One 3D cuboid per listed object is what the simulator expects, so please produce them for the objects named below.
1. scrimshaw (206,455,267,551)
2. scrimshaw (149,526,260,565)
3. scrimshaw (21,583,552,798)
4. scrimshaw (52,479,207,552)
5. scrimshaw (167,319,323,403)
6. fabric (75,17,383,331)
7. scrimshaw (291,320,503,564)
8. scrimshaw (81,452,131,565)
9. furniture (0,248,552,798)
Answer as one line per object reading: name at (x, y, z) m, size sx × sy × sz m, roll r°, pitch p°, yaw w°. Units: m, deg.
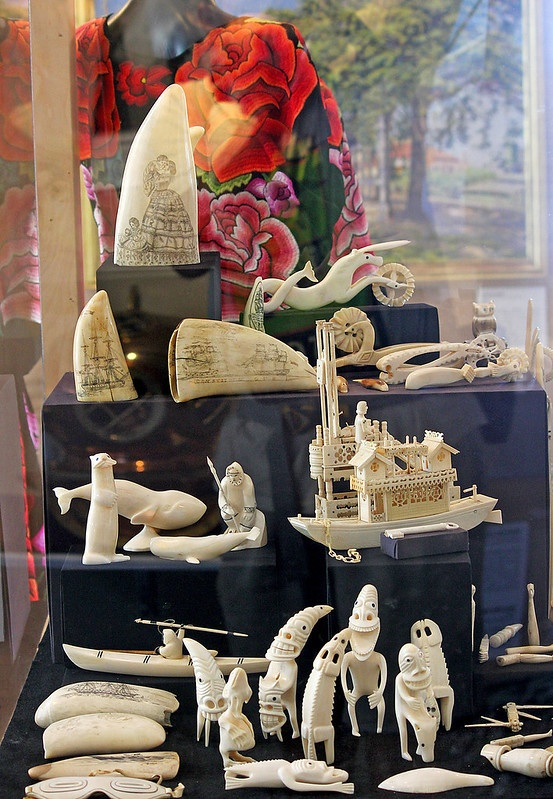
scrimshaw at (-0.082, 0.218, 1.891) m, size 0.122 × 0.205 × 0.085 m, roll -2°, pitch 12°, yaw -5°
scrimshaw at (-0.144, 0.309, 1.828) m, size 0.156 × 0.051 × 0.081 m, roll -4°, pitch -29°, yaw 1°
scrimshaw at (-0.042, 0.536, 1.529) m, size 0.921 × 0.240 × 0.349 m, roll 1°, pitch 7°, yaw 9°
scrimshaw at (-0.317, 0.253, 1.931) m, size 0.335 × 0.148 × 0.113 m, roll 3°, pitch 8°, yaw 0°
scrimshaw at (-0.066, -0.081, 1.986) m, size 0.349 × 0.172 × 0.126 m, roll -1°, pitch 1°, yaw -18°
fabric at (-0.078, -0.522, 2.031) m, size 0.776 × 0.675 × 0.415 m, roll 2°, pitch 17°, yaw 23°
scrimshaw at (0.269, 0.112, 1.898) m, size 0.600 × 0.559 × 0.194 m, roll -1°, pitch -5°, yaw -6°
scrimshaw at (-0.361, 0.230, 1.843) m, size 0.097 × 0.227 × 0.085 m, roll -1°, pitch 8°, yaw -11°
furniture at (0.017, 0.157, 1.918) m, size 1.063 × 0.607 × 1.004 m, roll -2°, pitch 3°, yaw 1°
